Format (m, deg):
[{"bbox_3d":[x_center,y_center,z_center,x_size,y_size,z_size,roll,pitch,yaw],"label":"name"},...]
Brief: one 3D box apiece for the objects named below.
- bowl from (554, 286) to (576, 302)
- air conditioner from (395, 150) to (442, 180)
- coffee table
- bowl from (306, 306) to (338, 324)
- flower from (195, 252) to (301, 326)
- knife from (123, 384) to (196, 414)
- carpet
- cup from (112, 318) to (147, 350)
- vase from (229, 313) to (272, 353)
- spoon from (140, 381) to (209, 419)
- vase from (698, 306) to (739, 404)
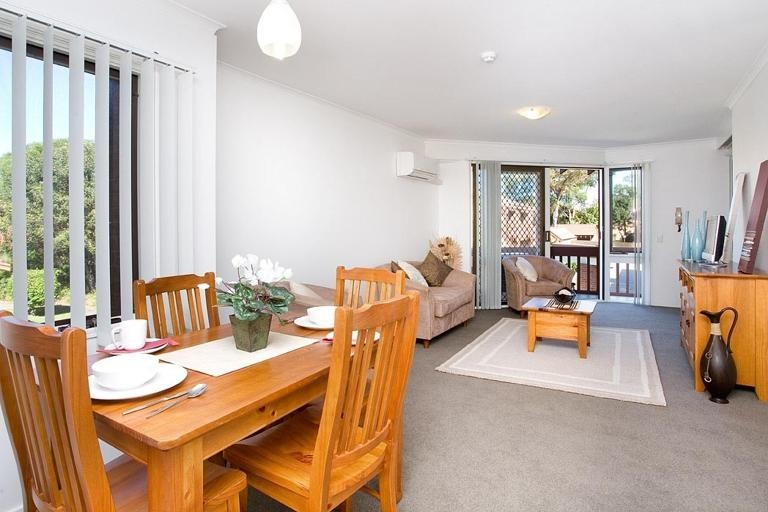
[{"bbox_3d":[2.127,0.461,5.849,0.192,0.137,0.245,-4,2,23],"label":"bowl"},{"bbox_3d":[0.499,-1.354,7.649,0.290,0.496,0.904,7,16,31],"label":"air conditioner"},{"bbox_3d":[2.054,0.773,5.755,0.631,0.497,0.674,0,1,29],"label":"coffee table"},{"bbox_3d":[-0.441,0.421,3.618,0.193,0.097,0.200,-1,-8,0],"label":"bowl"},{"bbox_3d":[-0.878,0.191,3.287,0.646,0.446,0.674,13,6,19],"label":"flower"},{"bbox_3d":[-1.154,0.748,2.618,0.115,0.052,0.394,3,13,38],"label":"knife"},{"bbox_3d":[1.983,1.077,5.798,2.106,0.219,2.335,4,15,23],"label":"carpet"},{"bbox_3d":[-1.541,0.476,3.084,0.233,0.183,0.181,-3,7,-40],"label":"cup"},{"bbox_3d":[-0.829,0.447,3.154,0.216,0.215,0.279,-1,-1,25],"label":"vase"},{"bbox_3d":[-1.082,0.757,2.630,0.088,0.058,0.400,4,17,32],"label":"spoon"},{"bbox_3d":[2.992,0.866,4.437,0.336,0.821,0.344,3,15,19],"label":"vase"}]
